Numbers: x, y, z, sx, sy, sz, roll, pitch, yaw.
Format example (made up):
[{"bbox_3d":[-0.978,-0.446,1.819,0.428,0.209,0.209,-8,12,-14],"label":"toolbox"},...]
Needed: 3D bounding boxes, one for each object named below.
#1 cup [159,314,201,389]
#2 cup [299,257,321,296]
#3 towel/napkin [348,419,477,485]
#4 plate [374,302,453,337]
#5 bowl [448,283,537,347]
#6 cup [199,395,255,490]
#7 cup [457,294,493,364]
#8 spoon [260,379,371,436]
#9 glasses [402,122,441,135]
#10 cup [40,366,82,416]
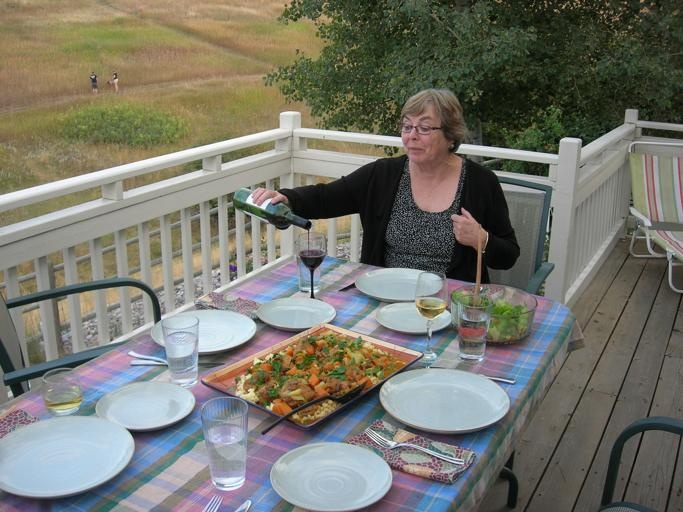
[{"bbox_3d":[-0.442,0.270,1.516,0.108,0.193,0.115,-1,19,0],"label":"cup"},{"bbox_3d":[-0.115,0.073,1.974,0.107,0.180,0.122,0,6,-2],"label":"cup"},{"bbox_3d":[0.165,0.457,1.278,0.197,0.038,0.122,18,32,32],"label":"towel/napkin"},{"bbox_3d":[0.235,0.213,1.819,0.129,0.021,0.140,6,22,17],"label":"plate"},{"bbox_3d":[0.535,0.188,1.791,0.198,0.109,0.225,-1,13,0],"label":"bowl"},{"bbox_3d":[-0.254,0.421,1.216,0.123,0.213,0.130,-2,11,0],"label":"cup"},{"bbox_3d":[0.390,0.216,1.612,0.125,0.221,0.128,-2,16,0],"label":"cup"},{"bbox_3d":[-0.074,0.382,1.377,0.231,0.041,0.034,-26,21,-32],"label":"spoon"},{"bbox_3d":[0.351,-0.554,2.424,0.163,0.044,0.047,9,27,14],"label":"glasses"},{"bbox_3d":[-0.709,0.349,1.452,0.100,0.120,0.107,1,6,0],"label":"cup"}]
